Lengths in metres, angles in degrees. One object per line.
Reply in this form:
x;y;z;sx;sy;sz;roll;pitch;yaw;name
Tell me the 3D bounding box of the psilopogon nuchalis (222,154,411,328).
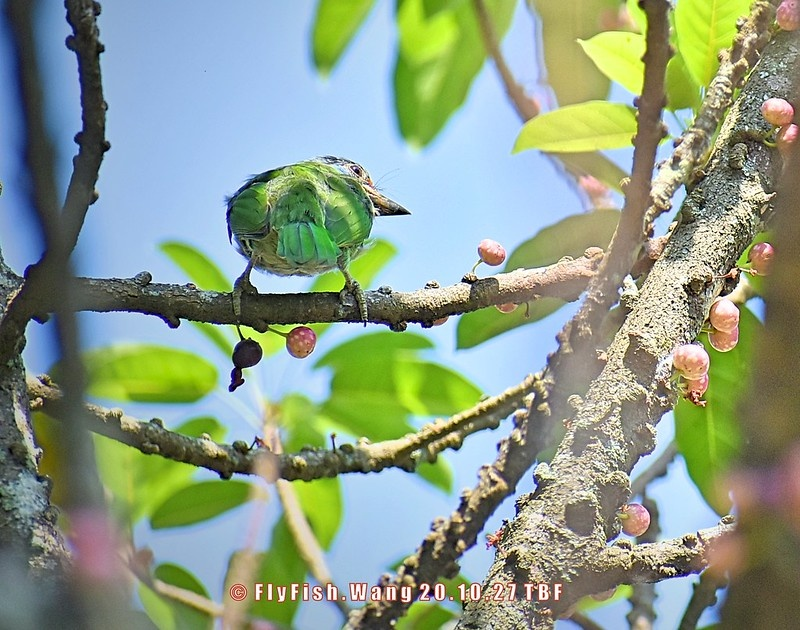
-0.270;-0.345;4.373;0.419;0.661;0.903;-7;-30;6;psilopogon nuchalis
